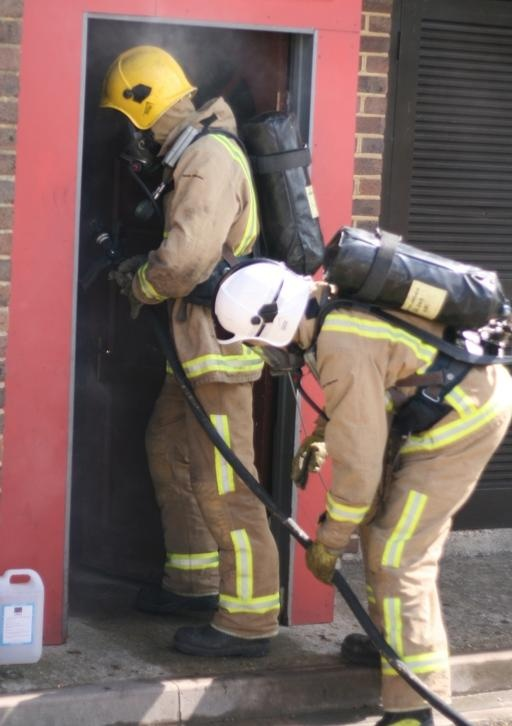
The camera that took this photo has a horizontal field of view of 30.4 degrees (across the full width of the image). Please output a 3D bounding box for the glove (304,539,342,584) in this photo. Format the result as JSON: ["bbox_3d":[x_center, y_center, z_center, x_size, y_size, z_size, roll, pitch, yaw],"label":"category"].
[{"bbox_3d":[0.218,0.661,3.190,0.138,0.144,0.117,-7,-2,22],"label":"glove"}]

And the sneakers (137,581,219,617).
[{"bbox_3d":[-0.342,0.996,4.037,0.368,0.154,0.131,0,2,0],"label":"sneakers"}]

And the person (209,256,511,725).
[{"bbox_3d":[0.330,0.418,3.126,0.918,1.529,0.541,7,9,15],"label":"person"}]

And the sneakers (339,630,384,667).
[{"bbox_3d":[0.390,1.078,3.557,0.159,0.065,0.073,27,17,17],"label":"sneakers"}]

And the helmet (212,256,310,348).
[{"bbox_3d":[0.038,-0.176,3.187,0.293,0.231,0.326,14,-21,13],"label":"helmet"}]

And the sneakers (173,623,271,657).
[{"bbox_3d":[-0.138,1.060,3.638,0.357,0.147,0.137,7,-2,-6],"label":"sneakers"}]

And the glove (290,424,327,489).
[{"bbox_3d":[0.190,0.355,3.481,0.071,0.228,0.134,6,32,-43],"label":"glove"}]
